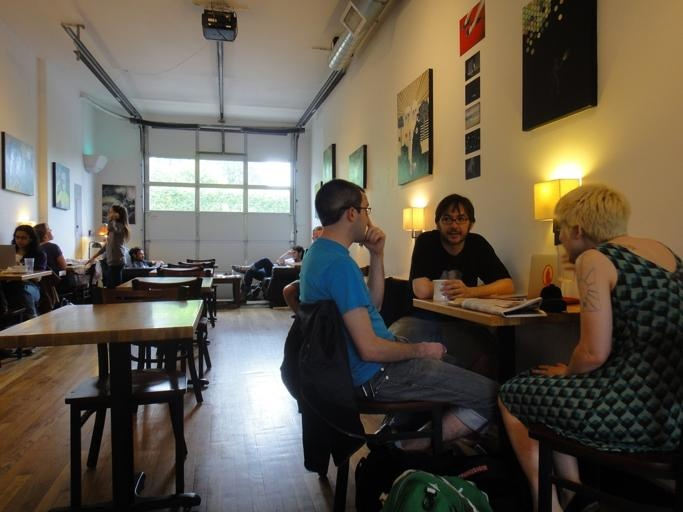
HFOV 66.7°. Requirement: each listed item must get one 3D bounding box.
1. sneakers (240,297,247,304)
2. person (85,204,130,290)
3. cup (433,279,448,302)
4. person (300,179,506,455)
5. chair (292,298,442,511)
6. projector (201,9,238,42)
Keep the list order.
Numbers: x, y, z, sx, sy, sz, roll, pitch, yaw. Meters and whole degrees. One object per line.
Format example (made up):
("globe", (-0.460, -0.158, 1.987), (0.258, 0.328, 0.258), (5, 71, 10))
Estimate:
("sneakers", (-1.887, 0.871, 10.016), (0.150, 0.092, 0.109), (-3, -7, 0))
("person", (-3.240, 0.098, 7.311), (0.476, 1.627, 0.458), (14, 11, 32))
("cup", (0.660, 0.233, 3.482), (0.117, 0.114, 0.102), (10, -13, -39))
("person", (0.339, 0.416, 2.888), (1.047, 1.671, 0.788), (-7, 1, -34))
("chair", (-0.046, 0.789, 3.120), (0.914, 1.327, 1.006), (-2, -2, -10))
("projector", (-1.573, -3.003, 6.716), (0.465, 0.324, 0.551), (-1, 8, -13))
